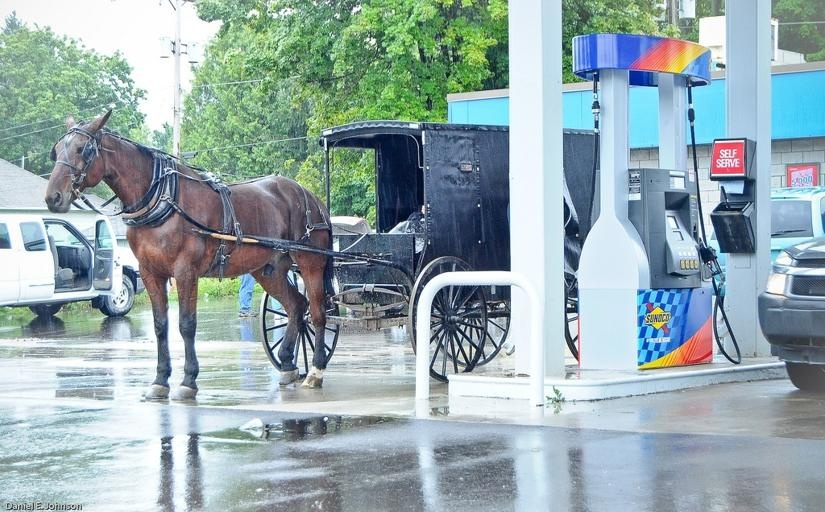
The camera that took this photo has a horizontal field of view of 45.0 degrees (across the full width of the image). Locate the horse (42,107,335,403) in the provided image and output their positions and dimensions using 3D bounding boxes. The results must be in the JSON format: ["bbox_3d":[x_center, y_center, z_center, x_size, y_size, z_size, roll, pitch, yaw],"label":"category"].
[{"bbox_3d":[-3.055,0.087,14.857,1.583,3.876,5.272,-6,-7,39],"label":"horse"}]

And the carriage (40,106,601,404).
[{"bbox_3d":[-1.711,0.060,15.628,7.854,3.961,2.431,0,-2,-34],"label":"carriage"}]
